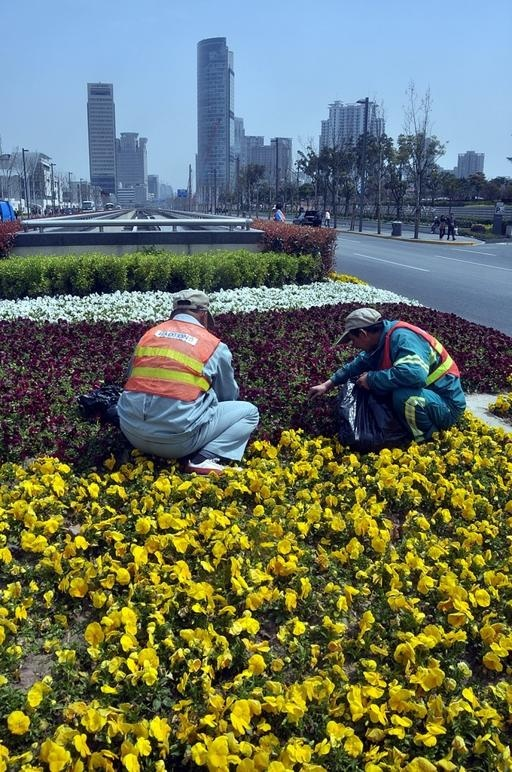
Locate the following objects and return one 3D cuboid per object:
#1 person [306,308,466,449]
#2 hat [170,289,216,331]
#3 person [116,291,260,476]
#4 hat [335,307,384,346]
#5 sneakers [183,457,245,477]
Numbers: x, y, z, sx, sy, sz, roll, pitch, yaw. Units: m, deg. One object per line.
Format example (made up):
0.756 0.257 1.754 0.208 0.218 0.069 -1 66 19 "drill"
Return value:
0.876 -0.047 4.838 0.984 0.944 0.685 -1 5 23 "person"
-0.390 -0.488 4.343 0.198 0.154 0.256 5 6 8 "hat"
-0.417 -0.032 4.119 0.777 1.063 0.734 8 6 25 "person"
0.687 -0.401 4.829 0.305 0.160 0.196 -30 4 29 "hat"
-0.235 0.454 3.942 0.313 0.115 0.113 -4 -1 -2 "sneakers"
